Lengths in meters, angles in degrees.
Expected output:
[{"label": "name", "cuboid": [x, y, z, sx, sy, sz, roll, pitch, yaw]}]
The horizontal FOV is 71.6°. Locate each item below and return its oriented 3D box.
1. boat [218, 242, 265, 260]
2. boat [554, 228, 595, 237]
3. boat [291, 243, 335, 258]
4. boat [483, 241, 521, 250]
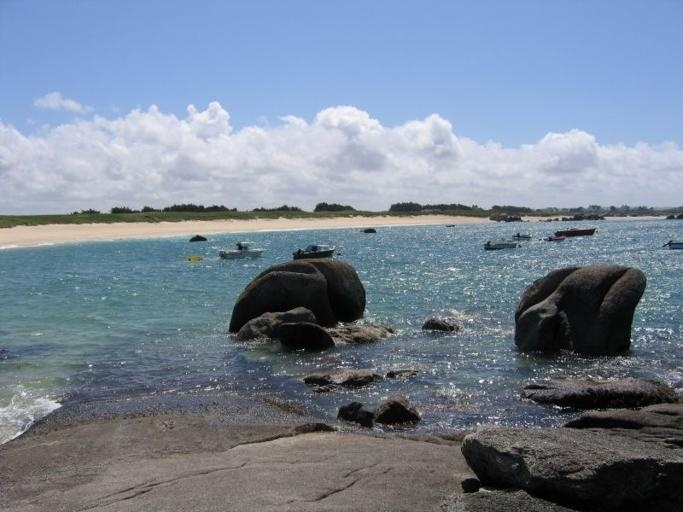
[{"label": "boat", "cuboid": [-11.934, -0.670, 55.425, 2.273, 1.621, 5.014, -2, 1, 29]}, {"label": "boat", "cuboid": [46.408, -4.592, 92.705, 4.227, 1.658, 19.076, -2, 1, 35]}, {"label": "boat", "cuboid": [-3.173, -0.498, 49.856, 5.362, 1.319, 1.591, -6, 18, -12]}, {"label": "boat", "cuboid": [22.948, -1.519, 67.160, 5.269, 1.265, 1.233, -4, 11, -23]}]
